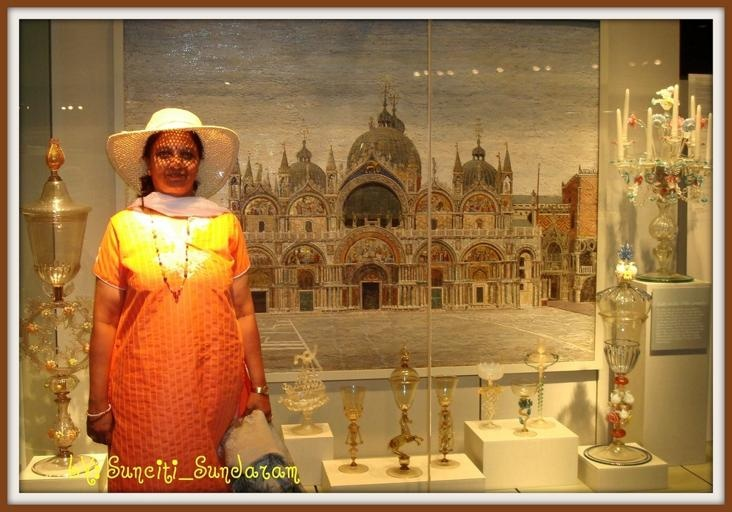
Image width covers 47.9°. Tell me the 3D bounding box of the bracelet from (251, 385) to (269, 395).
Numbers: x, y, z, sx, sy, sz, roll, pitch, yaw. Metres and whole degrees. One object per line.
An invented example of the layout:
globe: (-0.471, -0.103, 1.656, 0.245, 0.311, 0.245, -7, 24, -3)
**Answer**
bracelet: (-0.543, 0.690, 4.266, 0.058, 0.031, 0.059, -1, -2, 24)

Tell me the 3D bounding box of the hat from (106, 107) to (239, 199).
hat: (-0.984, -0.563, 4.296, 0.598, 0.157, 0.509, 5, -31, -32)

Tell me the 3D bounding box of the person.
person: (-0.970, 0.222, 4.241, 0.905, 1.953, 0.376, -1, 2, -6)

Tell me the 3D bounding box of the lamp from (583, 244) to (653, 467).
lamp: (1.529, 0.583, 5.015, 0.413, 1.308, 0.343, -1, 2, 11)

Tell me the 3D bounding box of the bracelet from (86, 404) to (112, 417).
bracelet: (-1.338, 0.770, 4.126, 0.083, 0.034, 0.065, -4, 4, -24)

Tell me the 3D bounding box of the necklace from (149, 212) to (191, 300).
necklace: (-0.973, 0.009, 4.094, 0.194, 0.416, 0.081, -1, 2, -12)
